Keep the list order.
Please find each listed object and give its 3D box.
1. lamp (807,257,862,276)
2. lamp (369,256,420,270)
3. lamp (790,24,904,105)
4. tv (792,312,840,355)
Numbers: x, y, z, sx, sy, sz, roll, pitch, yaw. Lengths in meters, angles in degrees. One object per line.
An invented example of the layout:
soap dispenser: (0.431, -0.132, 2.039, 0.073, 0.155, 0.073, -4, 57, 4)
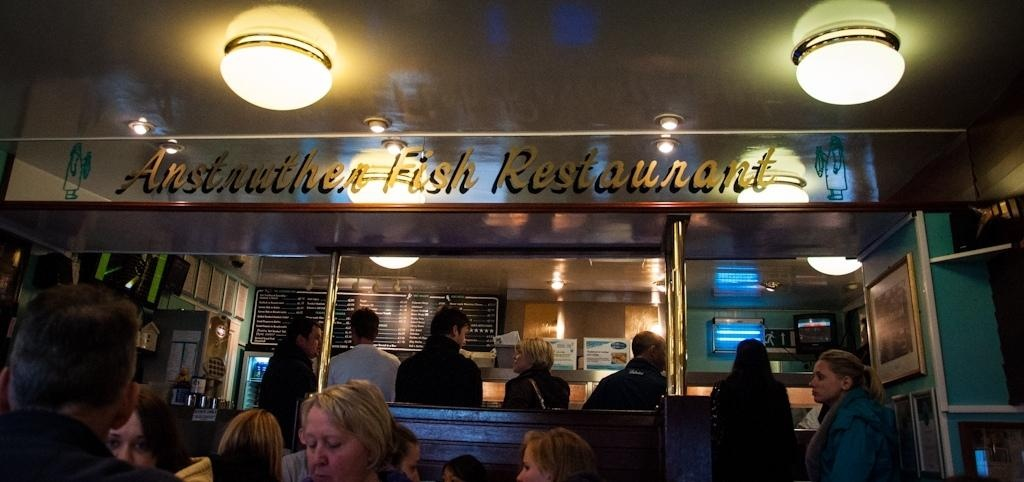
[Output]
lamp: (3.494, 0.252, 7.416, 0.504, 0.087, 0.455, -2, -12, 24)
lamp: (-1.392, 0.249, 8.184, 0.398, 0.094, 0.366, -2, -6, 27)
lamp: (2.800, -1.476, 5.720, 0.834, 0.539, 0.430, -2, -18, 19)
tv: (4.422, 1.309, 9.755, 0.474, 0.511, 0.594, 18, -21, -37)
